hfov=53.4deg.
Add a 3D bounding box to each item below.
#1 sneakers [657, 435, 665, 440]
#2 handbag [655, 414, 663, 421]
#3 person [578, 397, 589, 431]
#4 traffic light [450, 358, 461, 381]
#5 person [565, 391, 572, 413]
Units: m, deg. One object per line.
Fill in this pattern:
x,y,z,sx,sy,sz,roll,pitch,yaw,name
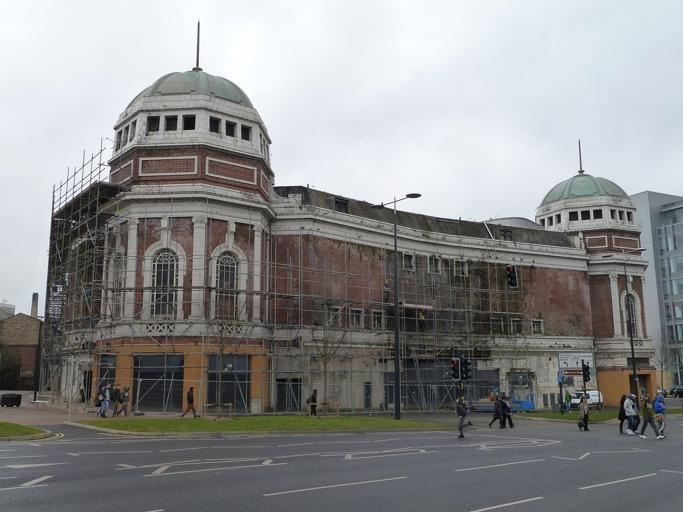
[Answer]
15.164,8.623,32.255,0.480,0.218,0.164,-14,-14,42,sneakers
15.408,7.824,32.971,0.318,0.296,0.322,-5,-15,11,handbag
13.193,8.601,37.184,0.449,1.838,0.953,-8,-15,23,person
6.593,6.494,39.190,0.439,1.305,0.963,-5,-14,9,traffic light
18.155,11.592,54.572,0.406,1.621,2.958,-6,-15,16,person
